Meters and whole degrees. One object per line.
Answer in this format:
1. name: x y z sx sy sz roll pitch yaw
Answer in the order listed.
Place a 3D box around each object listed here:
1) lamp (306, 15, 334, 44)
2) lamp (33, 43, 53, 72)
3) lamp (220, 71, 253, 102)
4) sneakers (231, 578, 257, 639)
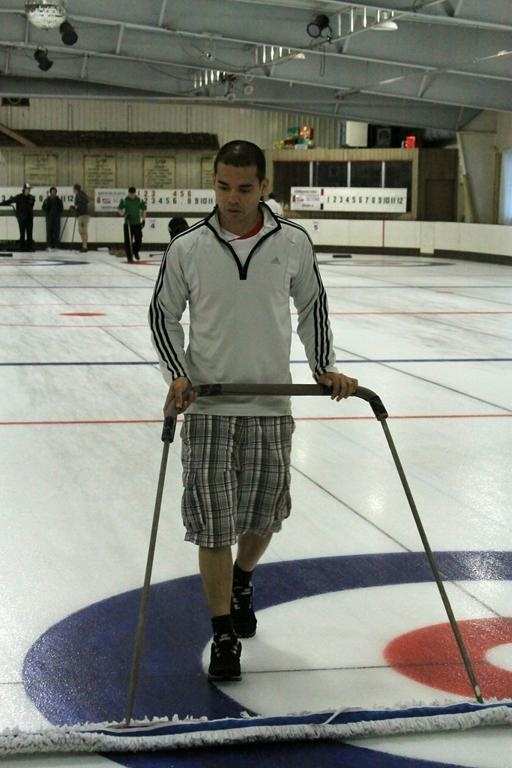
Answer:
1. lamp: 1.406 -7.797 14.555 0.598 0.631 0.251 5 23 -4
2. lamp: -5.833 -8.839 17.892 0.369 0.833 1.152 -2 7 -20
3. lamp: -0.634 -9.657 21.328 1.052 0.547 1.444 0 1 -1
4. sneakers: -0.040 0.640 1.881 0.058 0.113 0.169 -2 20 -3
